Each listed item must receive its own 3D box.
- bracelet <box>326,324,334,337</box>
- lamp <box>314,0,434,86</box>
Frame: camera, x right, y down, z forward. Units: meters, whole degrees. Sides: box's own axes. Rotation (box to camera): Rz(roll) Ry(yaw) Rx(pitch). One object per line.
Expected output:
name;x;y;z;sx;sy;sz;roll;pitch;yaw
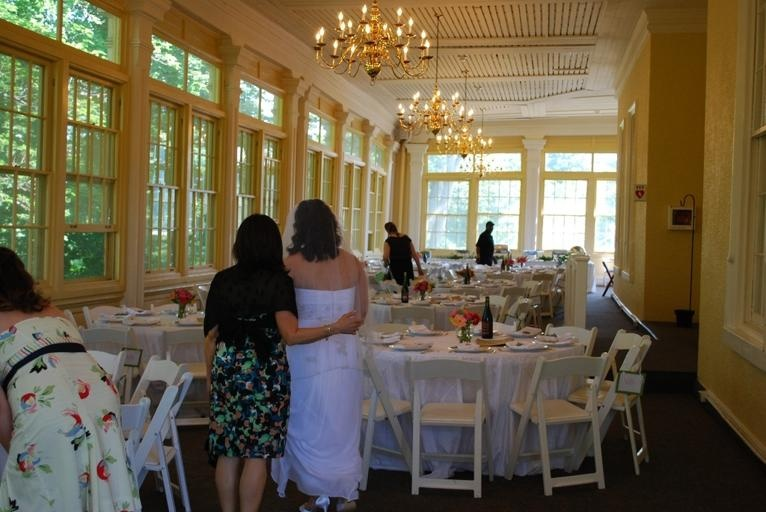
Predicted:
bracelet;-0.369;0.511;3.835;0.024;0.072;0.049;12;-3;-42
lamp;-0.210;-3.751;9.586;1.973;1.722;2.028;2;13;3
